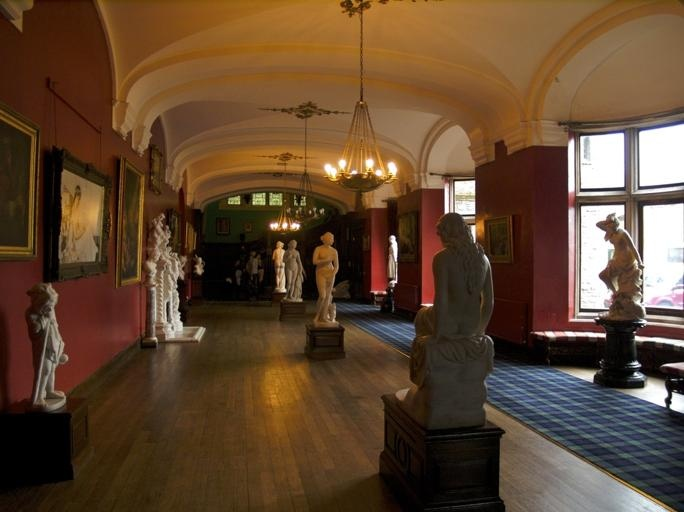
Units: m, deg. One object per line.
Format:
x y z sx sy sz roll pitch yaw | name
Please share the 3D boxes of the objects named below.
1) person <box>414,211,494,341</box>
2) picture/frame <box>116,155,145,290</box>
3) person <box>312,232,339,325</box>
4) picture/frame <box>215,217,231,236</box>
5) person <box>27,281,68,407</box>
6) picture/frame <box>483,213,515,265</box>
0.946 0.146 3.639 0.543 0.965 0.254 0 -1 -22 | person
-3.553 -0.526 7.791 0.340 2.016 1.615 0 -1 -22 | picture/frame
-0.286 0.387 8.469 0.439 1.644 1.105 0 -1 -3 | person
-5.874 -1.427 22.662 0.757 1.058 0.084 2 -4 -17 | picture/frame
-2.595 0.764 4.044 0.295 1.049 0.688 0 -1 -35 | person
2.994 -0.307 8.789 0.044 0.858 0.739 -4 1 -23 | picture/frame
